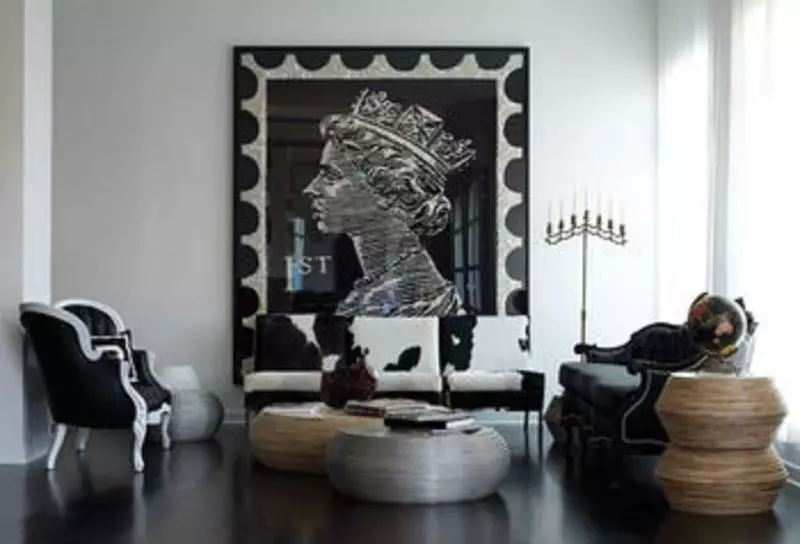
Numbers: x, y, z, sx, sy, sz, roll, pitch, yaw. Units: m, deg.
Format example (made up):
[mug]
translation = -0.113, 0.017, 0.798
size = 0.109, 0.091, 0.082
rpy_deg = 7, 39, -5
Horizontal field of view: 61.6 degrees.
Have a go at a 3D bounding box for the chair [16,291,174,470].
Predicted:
[chair]
translation = -2.372, 0.843, 5.283
size = 0.967, 1.243, 0.951
rpy_deg = 0, 2, -2

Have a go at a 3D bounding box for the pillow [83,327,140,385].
[pillow]
translation = -2.390, 0.730, 5.598
size = 0.170, 0.438, 0.432
rpy_deg = -21, -13, 31

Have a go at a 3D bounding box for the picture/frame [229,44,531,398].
[picture/frame]
translation = -0.219, -0.415, 6.595
size = 3.397, 3.692, 0.058
rpy_deg = 0, -2, -2

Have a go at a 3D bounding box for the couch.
[couch]
translation = -0.059, 0.941, 6.139
size = 2.692, 1.127, 0.928
rpy_deg = 0, -6, -2

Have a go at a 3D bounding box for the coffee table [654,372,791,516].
[coffee table]
translation = 1.958, 1.103, 4.451
size = 0.796, 0.806, 0.837
rpy_deg = 0, -7, 0

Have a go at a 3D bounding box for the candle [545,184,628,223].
[candle]
translation = 1.871, -0.673, 6.773
size = 0.811, 0.389, 0.050
rpy_deg = 0, 3, -1

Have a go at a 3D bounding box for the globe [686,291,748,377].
[globe]
translation = 2.045, 0.396, 4.321
size = 0.308, 0.491, 0.436
rpy_deg = 2, 3, 35

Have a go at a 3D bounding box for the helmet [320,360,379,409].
[helmet]
translation = -0.423, 0.873, 5.166
size = 0.402, 0.289, 0.325
rpy_deg = -7, -9, -32
